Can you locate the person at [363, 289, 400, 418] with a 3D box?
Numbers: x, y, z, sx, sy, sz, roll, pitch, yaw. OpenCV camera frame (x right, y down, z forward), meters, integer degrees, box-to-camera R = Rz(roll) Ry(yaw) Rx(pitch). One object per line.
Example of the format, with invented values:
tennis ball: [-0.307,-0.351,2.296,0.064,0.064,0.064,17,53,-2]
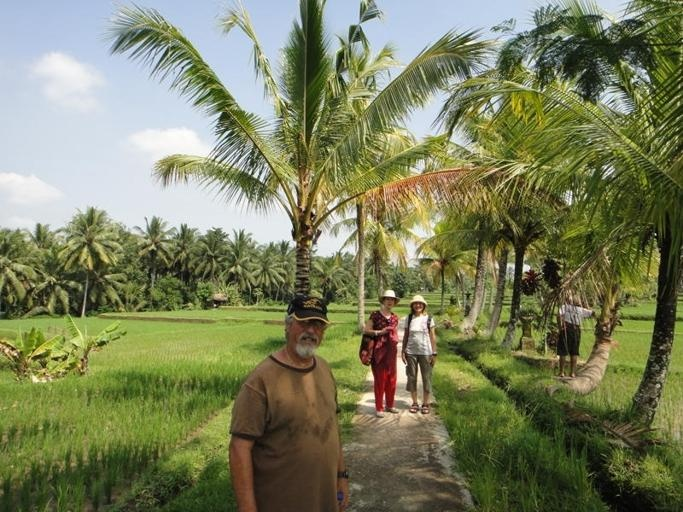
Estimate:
person: [0.744,1.810,9.823,0.766,2.306,0.433,4,-4,-29]

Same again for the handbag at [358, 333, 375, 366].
handbag: [0.487,1.788,9.808,0.152,0.535,0.357,5,-2,-17]

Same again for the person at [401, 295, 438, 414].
person: [1.569,1.928,10.537,0.646,2.268,1.164,2,-4,9]
